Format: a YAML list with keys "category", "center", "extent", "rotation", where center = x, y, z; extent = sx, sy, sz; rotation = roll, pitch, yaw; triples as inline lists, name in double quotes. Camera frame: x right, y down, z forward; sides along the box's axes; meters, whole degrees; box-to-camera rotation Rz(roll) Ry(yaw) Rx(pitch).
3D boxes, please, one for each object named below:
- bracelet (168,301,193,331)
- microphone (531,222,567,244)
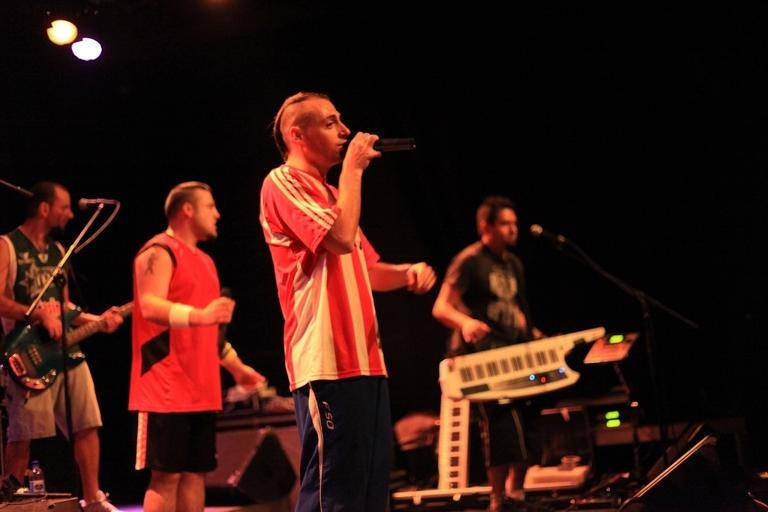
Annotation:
- category: "bracelet"
  center: [-1.423, 0.410, 5.176]
  extent: [0.143, 0.149, 0.154]
  rotation: [1, -32, -34]
- category: "microphone"
  center: [1.435, -0.199, 6.581]
  extent: [0.400, 0.102, 0.106]
  rotation: [19, -49, -43]
